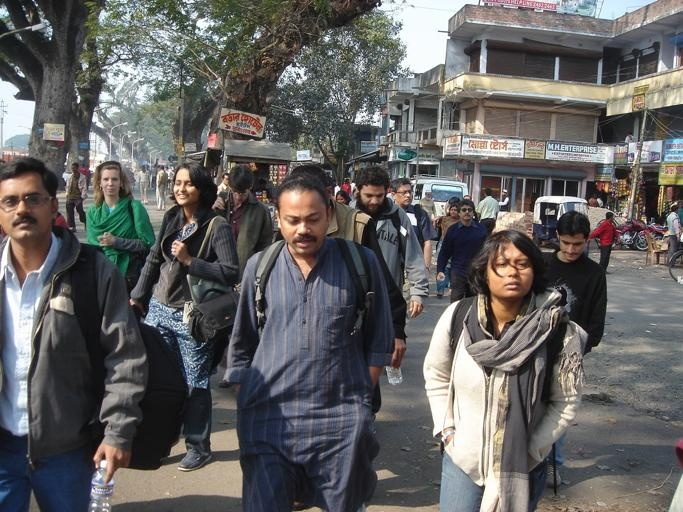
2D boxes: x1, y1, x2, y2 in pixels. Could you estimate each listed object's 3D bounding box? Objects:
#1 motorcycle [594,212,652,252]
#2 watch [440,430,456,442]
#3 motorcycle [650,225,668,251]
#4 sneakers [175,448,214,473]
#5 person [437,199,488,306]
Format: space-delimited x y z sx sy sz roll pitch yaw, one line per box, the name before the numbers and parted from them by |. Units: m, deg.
motorcycle | 10.803 -0.907 23.753 1.131 1.356 2.279 5 2 -27
watch | 0.521 0.890 3.087 0.055 0.051 0.068 2 -16 -2
motorcycle | 10.454 -0.653 20.790 0.515 0.809 4.436 3 3 26
sneakers | -1.082 1.484 4.552 0.104 0.131 0.311 -5 -10 34
person | 1.699 0.183 8.646 0.794 1.844 0.663 -2 9 1
